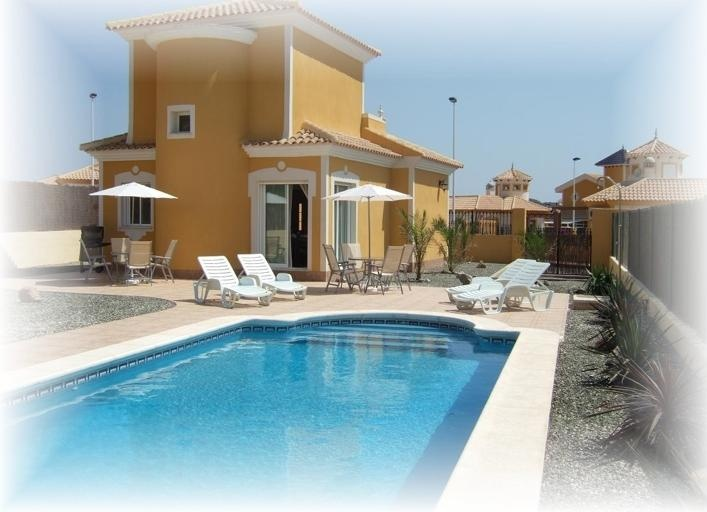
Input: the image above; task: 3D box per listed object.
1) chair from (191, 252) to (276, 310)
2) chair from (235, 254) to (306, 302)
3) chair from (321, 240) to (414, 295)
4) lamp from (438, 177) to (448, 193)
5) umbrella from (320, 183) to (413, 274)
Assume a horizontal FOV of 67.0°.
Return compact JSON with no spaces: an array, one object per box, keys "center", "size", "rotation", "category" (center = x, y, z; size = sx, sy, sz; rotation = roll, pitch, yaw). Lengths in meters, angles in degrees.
[{"center":[-3.185,0.614,13.632],"size":[1.128,1.072,2.157],"rotation":[-3,5,-44],"category":"chair"},{"center":[-2.234,0.702,14.286],"size":[1.856,0.927,1.039],"rotation":[19,14,41],"category":"chair"},{"center":[0.304,0.373,16.127],"size":[2.204,1.530,1.363],"rotation":[1,0,25],"category":"chair"},{"center":[4.325,-3.387,25.510],"size":[0.329,0.641,1.513],"rotation":[2,9,17],"category":"lamp"},{"center":[0.388,-1.121,17.009],"size":[2.963,2.719,3.092],"rotation":[0,3,24],"category":"umbrella"}]
